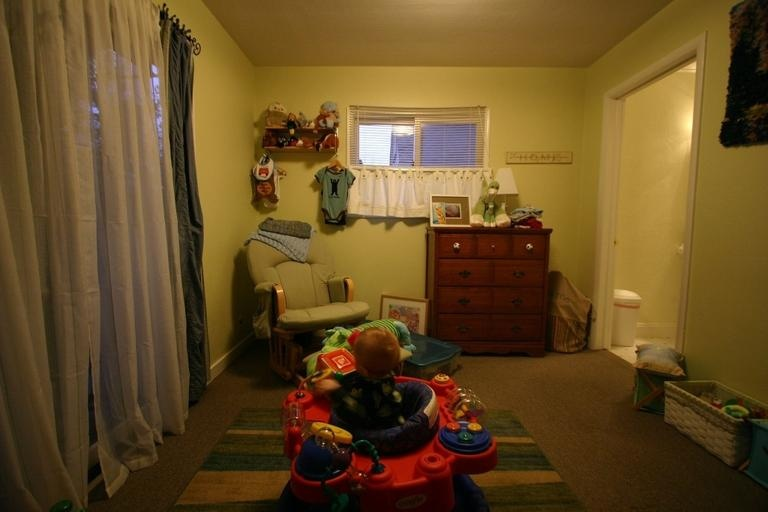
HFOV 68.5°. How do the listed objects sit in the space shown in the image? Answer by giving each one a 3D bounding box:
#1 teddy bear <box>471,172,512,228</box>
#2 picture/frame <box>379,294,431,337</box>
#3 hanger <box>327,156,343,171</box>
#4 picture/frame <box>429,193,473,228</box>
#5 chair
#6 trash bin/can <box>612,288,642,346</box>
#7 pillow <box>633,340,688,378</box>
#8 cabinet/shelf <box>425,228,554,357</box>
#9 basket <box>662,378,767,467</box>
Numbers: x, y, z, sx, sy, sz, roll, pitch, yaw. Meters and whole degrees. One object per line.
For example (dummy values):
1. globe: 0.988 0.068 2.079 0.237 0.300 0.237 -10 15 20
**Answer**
1. teddy bear: 0.995 -0.536 5.422 0.362 0.568 0.590 4 1 -1
2. picture/frame: 0.179 0.533 4.942 0.365 0.331 0.016 4 -1 29
3. hanger: -0.485 -0.894 5.486 0.155 0.099 0.026 1 -2 -7
4. picture/frame: 0.632 -0.418 5.404 0.358 0.292 0.037 1 -23 -5
5. chair: -0.643 0.388 4.804 0.984 1.090 0.921 5 9 39
6. trash bin/can: 2.280 0.600 5.367 0.225 0.514 0.188 3 11 21
7. pillow: 2.087 0.777 4.314 0.334 0.125 0.434 7 17 25
8. cabinet/shelf: 0.959 0.297 5.368 1.050 1.158 0.642 1 9 2
9. basket: 2.278 1.119 3.869 0.482 0.363 0.589 -4 9 -18
